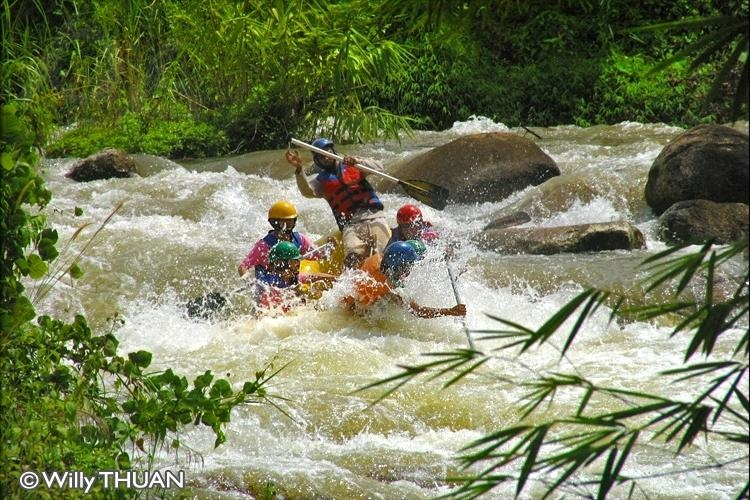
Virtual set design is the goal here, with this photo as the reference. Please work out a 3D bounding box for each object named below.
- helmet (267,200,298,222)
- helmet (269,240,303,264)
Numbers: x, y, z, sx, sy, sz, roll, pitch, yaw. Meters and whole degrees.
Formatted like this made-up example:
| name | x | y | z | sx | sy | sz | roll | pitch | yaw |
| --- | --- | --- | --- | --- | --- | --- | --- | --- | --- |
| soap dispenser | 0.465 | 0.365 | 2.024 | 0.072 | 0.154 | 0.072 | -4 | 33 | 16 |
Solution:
| name | x | y | z | sx | sy | sz | roll | pitch | yaw |
| --- | --- | --- | --- | --- | --- | --- | --- | --- | --- |
| helmet | -0.855 | -0.364 | 9.121 | 0.212 | 0.144 | 0.173 | 12 | 8 | 7 |
| helmet | -0.807 | 0.021 | 8.806 | 0.257 | 0.130 | 0.181 | -4 | 23 | 1 |
